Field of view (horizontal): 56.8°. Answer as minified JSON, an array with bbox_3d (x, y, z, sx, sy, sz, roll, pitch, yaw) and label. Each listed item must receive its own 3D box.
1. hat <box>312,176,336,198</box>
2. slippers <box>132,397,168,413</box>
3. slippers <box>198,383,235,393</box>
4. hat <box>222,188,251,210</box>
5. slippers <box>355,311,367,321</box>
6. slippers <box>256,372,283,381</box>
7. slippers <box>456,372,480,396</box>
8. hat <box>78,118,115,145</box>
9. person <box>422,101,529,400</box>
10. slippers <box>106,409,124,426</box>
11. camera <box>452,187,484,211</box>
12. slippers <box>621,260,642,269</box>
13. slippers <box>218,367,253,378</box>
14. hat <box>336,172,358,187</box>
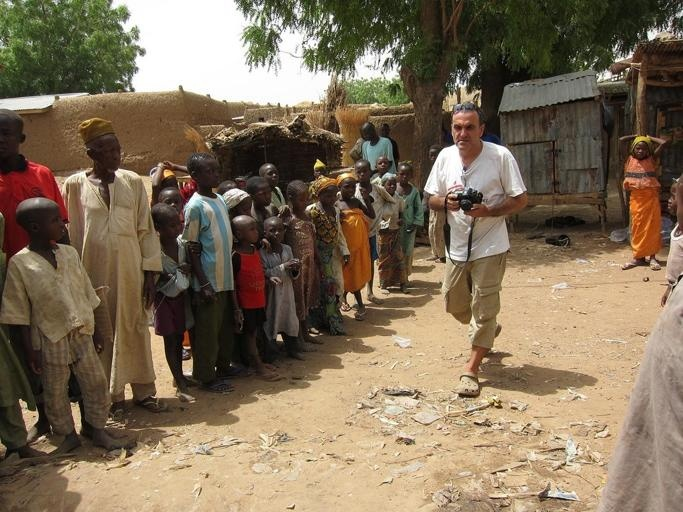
[{"bbox_3d":[-0.201,-0.817,7.475,0.271,0.130,0.269,-2,9,-10],"label":"hat"},{"bbox_3d":[-1.761,1.366,5.805,0.316,0.073,0.133,5,19,21],"label":"slippers"},{"bbox_3d":[-1.229,1.267,6.157,0.307,0.070,0.111,1,6,15],"label":"slippers"},{"bbox_3d":[-1.070,-0.582,6.440,0.258,0.179,0.200,-20,14,17],"label":"hat"},{"bbox_3d":[0.245,0.786,8.235,0.135,0.083,0.345,0,1,4],"label":"slippers"},{"bbox_3d":[-0.722,1.234,6.410,0.172,0.035,0.096,7,9,16],"label":"slippers"},{"bbox_3d":[1.195,1.206,5.963,0.212,0.175,0.270,-2,10,12],"label":"slippers"},{"bbox_3d":[-2.087,-1.057,5.380,0.251,0.221,0.218,-7,10,-14],"label":"hat"},{"bbox_3d":[1.289,-0.090,6.032,0.866,2.686,0.933,-4,11,7],"label":"person"},{"bbox_3d":[-1.976,1.424,5.562,0.130,0.051,0.158,5,8,-10],"label":"slippers"},{"bbox_3d":[1.157,-0.509,5.817,0.277,0.158,0.197,2,36,30],"label":"camera"},{"bbox_3d":[4.539,0.141,9.917,0.425,0.088,0.139,-4,6,-19],"label":"slippers"},{"bbox_3d":[-1.095,1.199,6.467,0.382,0.123,0.117,-1,3,-3],"label":"slippers"},{"bbox_3d":[0.050,-0.964,7.962,0.234,0.118,0.223,-3,14,-1],"label":"hat"}]
